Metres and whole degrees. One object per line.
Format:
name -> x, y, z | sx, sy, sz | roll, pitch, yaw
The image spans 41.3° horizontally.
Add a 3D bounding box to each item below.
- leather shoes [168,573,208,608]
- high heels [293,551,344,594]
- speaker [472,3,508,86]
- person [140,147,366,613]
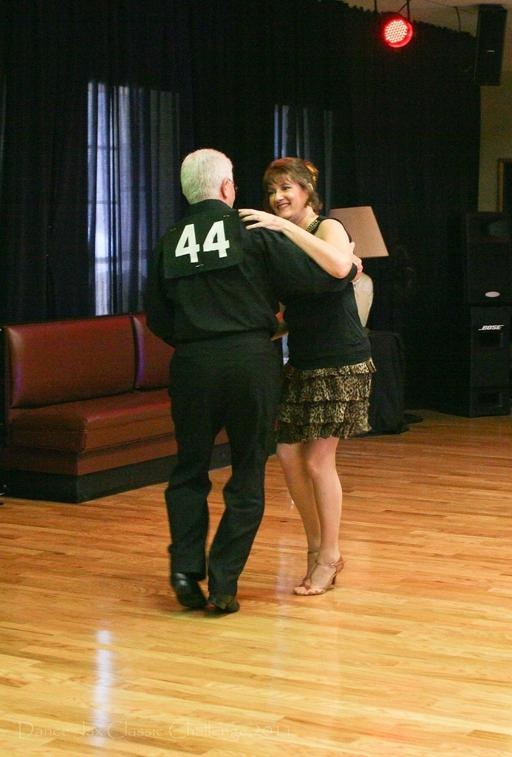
leather shoes -> -0.188, 0.626, 1.987 | 0.062, 0.072, 0.161 | -14, -37, 13
high heels -> 0.221, 0.647, 2.294 | 0.084, 0.096, 0.197 | -1, 3, 44
speaker -> 2.072, -3.016, 6.030 | 0.247, 0.707, 0.305 | -1, -2, 18
person -> -0.054, 0.030, 1.923 | 0.563, 1.347, 0.377 | -2, -3, 45
